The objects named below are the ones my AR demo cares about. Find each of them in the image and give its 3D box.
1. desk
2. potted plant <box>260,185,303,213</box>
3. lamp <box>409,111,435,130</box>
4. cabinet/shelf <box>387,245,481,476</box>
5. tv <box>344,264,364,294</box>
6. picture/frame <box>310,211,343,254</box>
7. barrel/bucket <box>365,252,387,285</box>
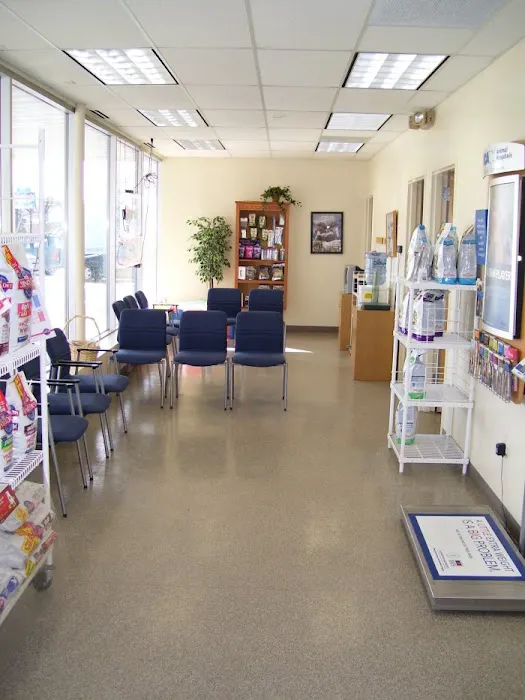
[{"bbox_3d":[1.458,-0.278,7.230,0.441,0.961,1.817,0,14,3],"label":"desk"},{"bbox_3d":[0.343,-2.760,9.065,0.657,0.498,0.561,1,6,2],"label":"potted plant"},{"bbox_3d":[1.621,-2.321,5.098,0.057,0.173,0.226,-5,11,-19],"label":"lamp"},{"bbox_3d":[1.339,0.128,4.049,0.589,1.422,1.543,2,6,15],"label":"cabinet/shelf"},{"bbox_3d":[1.461,-1.123,8.026,0.259,0.475,0.752,2,6,8],"label":"tv"},{"bbox_3d":[1.210,-2.235,9.400,0.666,0.960,0.043,0,6,-2],"label":"picture/frame"},{"bbox_3d":[1.504,-1.074,6.634,0.272,0.424,0.258,1,5,0],"label":"barrel/bucket"}]
